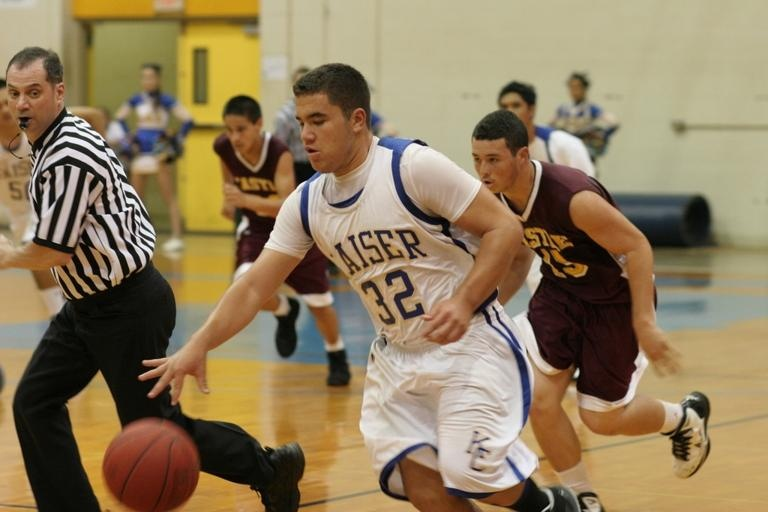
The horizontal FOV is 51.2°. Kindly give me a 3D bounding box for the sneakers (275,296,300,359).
[{"bbox_3d":[-0.817,0.602,6.680,0.175,0.550,0.211,4,10,21],"label":"sneakers"}]
